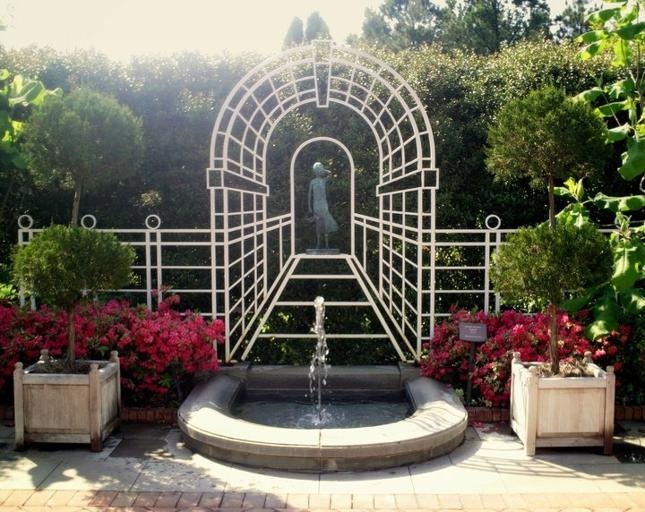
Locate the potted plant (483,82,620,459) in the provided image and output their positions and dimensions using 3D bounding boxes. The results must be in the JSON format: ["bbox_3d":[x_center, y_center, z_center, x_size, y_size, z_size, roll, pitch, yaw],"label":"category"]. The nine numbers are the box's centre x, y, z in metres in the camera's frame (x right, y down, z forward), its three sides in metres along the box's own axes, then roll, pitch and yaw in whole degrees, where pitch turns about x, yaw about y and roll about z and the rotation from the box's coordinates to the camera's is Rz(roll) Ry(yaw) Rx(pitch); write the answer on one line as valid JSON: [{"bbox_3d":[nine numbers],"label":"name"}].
[{"bbox_3d":[2.144,-0.041,5.077,1.069,3.227,1.841,2,8,18],"label":"potted plant"}]
